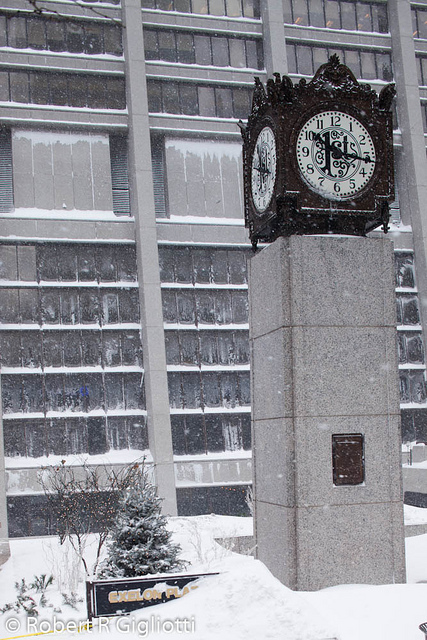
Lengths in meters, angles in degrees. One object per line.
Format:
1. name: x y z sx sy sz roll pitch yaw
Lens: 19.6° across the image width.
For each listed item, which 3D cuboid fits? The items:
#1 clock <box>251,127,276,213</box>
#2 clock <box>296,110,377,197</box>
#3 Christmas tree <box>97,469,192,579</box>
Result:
1. clock: 0.853 -2.539 20.998 0.111 1.360 1.416 -2 -12 -12
2. clock: 1.945 -2.714 20.309 0.954 0.962 0.061 -44 7 -14
3. Christmas tree: -1.220 3.464 20.692 1.262 1.583 1.179 -4 -12 -4
